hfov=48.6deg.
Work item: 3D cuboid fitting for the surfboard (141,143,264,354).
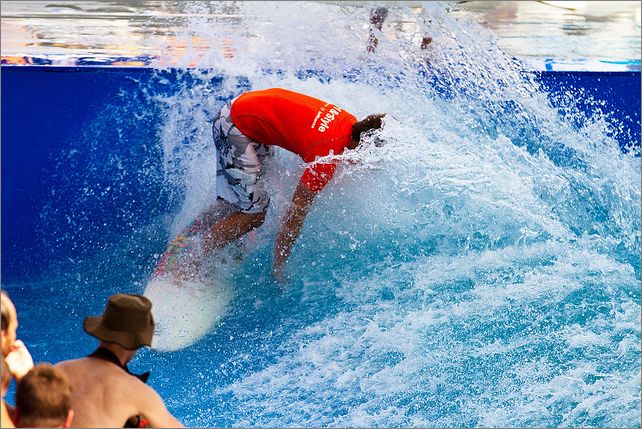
[{"bbox_3d":[-1.032,-0.035,6.337,0.812,2.423,0.726,-1,-30,18],"label":"surfboard"}]

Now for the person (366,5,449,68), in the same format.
[{"bbox_3d":[0.794,-1.747,6.937,0.681,0.555,0.915,4,15,3],"label":"person"}]
